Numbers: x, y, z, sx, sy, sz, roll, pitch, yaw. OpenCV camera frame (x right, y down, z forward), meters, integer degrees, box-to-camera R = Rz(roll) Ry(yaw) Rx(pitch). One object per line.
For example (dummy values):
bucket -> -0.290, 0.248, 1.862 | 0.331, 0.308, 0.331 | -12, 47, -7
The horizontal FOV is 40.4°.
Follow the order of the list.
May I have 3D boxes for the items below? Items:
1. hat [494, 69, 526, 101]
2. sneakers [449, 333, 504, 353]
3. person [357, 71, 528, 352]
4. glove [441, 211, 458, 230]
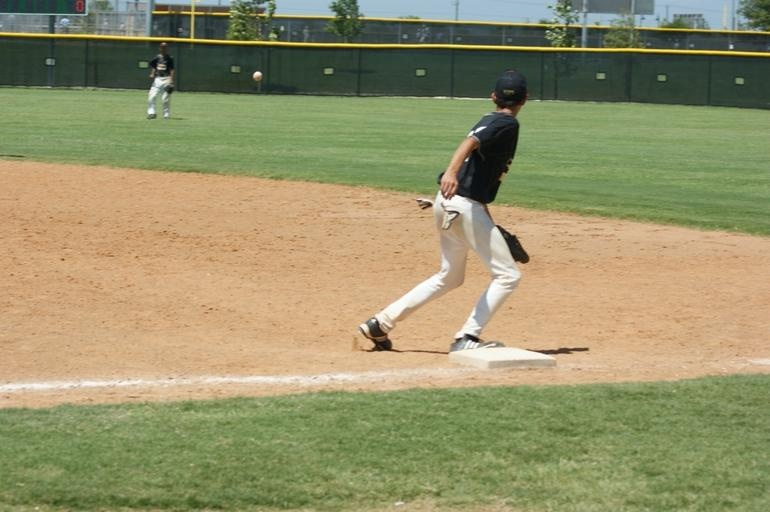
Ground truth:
hat -> 1.121, -1.547, 9.444 | 0.365, 0.181, 0.309 | 8, 47, 10
sneakers -> 0.797, 0.795, 9.613 | 0.645, 0.118, 0.147 | -3, 5, -4
person -> 0.693, -0.383, 9.611 | 1.085, 2.664, 0.937 | -1, 13, -28
glove -> 0.584, -0.332, 9.359 | 0.092, 0.186, 0.123 | -4, 13, -36
